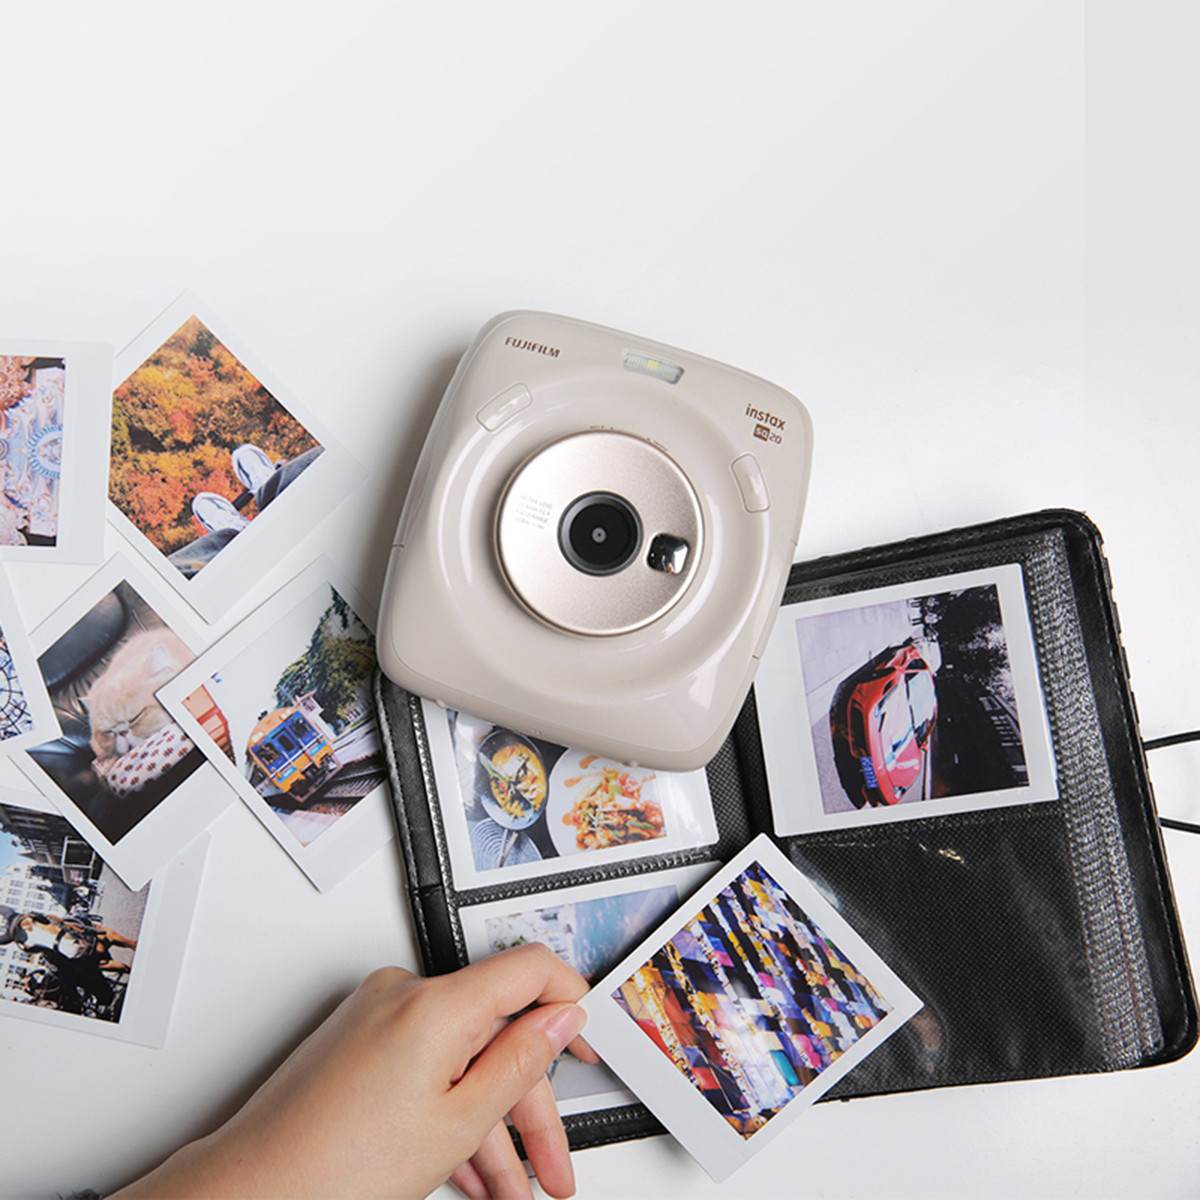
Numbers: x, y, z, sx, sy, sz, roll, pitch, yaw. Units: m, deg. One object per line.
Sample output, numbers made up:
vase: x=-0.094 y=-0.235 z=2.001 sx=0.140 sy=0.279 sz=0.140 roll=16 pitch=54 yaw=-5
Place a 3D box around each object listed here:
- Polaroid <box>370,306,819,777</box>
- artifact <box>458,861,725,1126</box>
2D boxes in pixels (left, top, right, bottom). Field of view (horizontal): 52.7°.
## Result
Polaroid: x=-0.014 y=-0.041 z=0.817 sx=0.310 sy=0.313 sz=0.081 roll=35 pitch=-15 yaw=-29
artifact: x=-0.007 y=0.274 z=0.861 sx=0.184 sy=0.118 sz=0.101 roll=-10 pitch=23 yaw=-22
